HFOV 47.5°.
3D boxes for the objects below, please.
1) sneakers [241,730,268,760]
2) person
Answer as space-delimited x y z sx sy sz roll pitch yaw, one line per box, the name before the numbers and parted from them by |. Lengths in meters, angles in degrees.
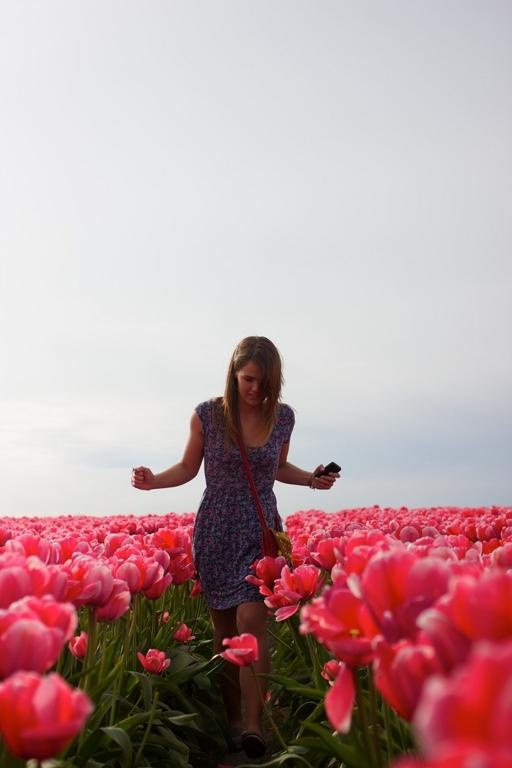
sneakers | -0.019 1.697 2.766 0.105 0.199 0.084 3 40 7
person | -0.125 0.916 3.396 0.886 2.435 1.044 -3 -6 20
